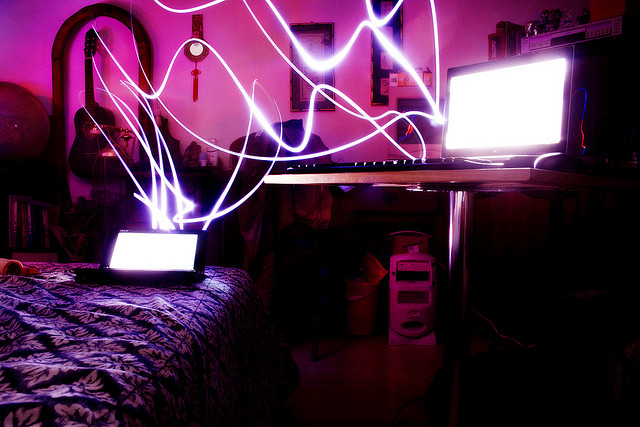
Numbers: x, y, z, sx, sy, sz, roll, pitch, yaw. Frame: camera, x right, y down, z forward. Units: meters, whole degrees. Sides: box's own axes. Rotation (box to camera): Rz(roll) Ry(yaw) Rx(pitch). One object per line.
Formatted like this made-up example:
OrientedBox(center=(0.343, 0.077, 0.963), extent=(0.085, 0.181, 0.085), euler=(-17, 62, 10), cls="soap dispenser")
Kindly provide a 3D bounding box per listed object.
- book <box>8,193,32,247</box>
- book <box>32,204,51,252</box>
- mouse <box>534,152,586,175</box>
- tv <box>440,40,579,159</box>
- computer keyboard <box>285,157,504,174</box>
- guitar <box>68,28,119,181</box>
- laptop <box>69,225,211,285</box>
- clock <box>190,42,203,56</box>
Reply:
OrientedBox(center=(-2.253, 0.049, 4.066), extent=(0.091, 0.359, 0.223), euler=(3, 14, 17), cls="book")
OrientedBox(center=(-2.115, 0.107, 4.126), extent=(0.071, 0.297, 0.296), euler=(1, -2, -13), cls="book")
OrientedBox(center=(0.985, -0.182, 2.253), extent=(0.167, 0.048, 0.122), euler=(4, 9, -25), cls="mouse")
OrientedBox(center=(0.932, -0.532, 2.626), extent=(0.898, 0.628, 0.063), euler=(4, -1, 36), cls="tv")
OrientedBox(center=(0.302, -0.203, 2.370), extent=(0.939, 0.076, 0.200), euler=(3, 14, 17), cls="computer keyboard")
OrientedBox(center=(-1.857, -0.848, 4.369), extent=(0.374, 1.204, 0.260), euler=(-7, 14, -25), cls="guitar")
OrientedBox(center=(-0.798, 0.212, 2.729), extent=(0.548, 0.277, 0.250), euler=(2, -6, 3), cls="laptop")
OrientedBox(center=(-1.015, -1.345, 4.471), extent=(0.091, 0.101, 0.060), euler=(8, 16, 32), cls="clock")
